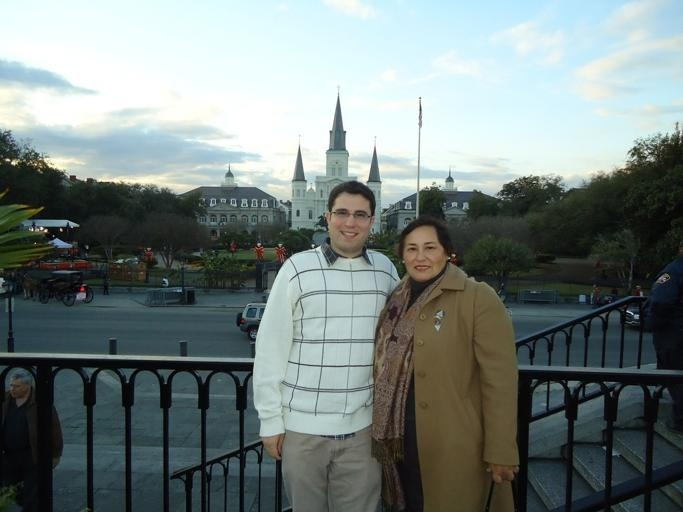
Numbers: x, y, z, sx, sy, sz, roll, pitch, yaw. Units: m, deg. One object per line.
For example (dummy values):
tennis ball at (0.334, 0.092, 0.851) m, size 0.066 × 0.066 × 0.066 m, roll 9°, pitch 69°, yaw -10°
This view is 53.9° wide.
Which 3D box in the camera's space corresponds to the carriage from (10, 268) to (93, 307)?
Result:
carriage at (-14.938, 1.675, 36.020) m, size 4.141 × 1.443 × 1.162 m, roll -2°, pitch 8°, yaw 39°
